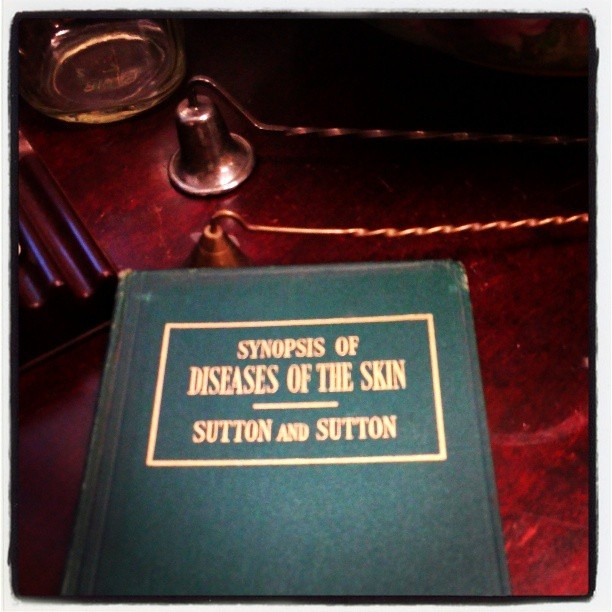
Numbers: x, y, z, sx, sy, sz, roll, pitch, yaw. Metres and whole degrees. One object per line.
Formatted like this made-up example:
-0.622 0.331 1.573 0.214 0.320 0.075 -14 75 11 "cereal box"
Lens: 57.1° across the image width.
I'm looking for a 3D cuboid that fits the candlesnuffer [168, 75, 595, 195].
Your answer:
0.106 -0.207 0.701 0.420 0.139 0.113 2 54 -4 "candlesnuffer"
